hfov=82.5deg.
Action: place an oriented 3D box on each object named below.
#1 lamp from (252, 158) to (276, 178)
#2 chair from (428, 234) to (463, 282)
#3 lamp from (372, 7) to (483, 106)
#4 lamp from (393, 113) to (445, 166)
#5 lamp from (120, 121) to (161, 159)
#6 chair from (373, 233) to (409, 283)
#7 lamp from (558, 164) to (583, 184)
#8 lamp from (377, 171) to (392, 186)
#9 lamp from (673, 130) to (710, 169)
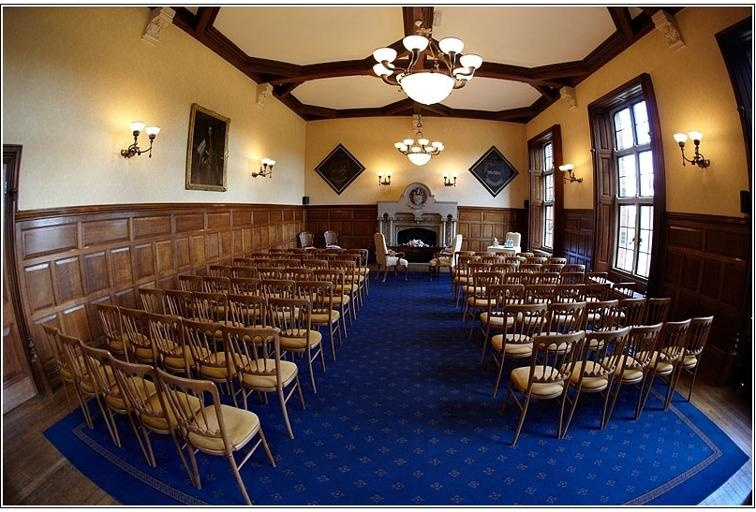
[{"bbox_3d":[-2.972,-2.284,11.421,0.537,0.527,0.689,-3,-1,20],"label":"lamp"},{"bbox_3d":[1.799,0.065,11.773,0.749,1.202,0.722,2,1,19],"label":"chair"},{"bbox_3d":[0.926,-3.841,8.070,1.826,2.060,1.884,-2,13,-14],"label":"lamp"},{"bbox_3d":[1.046,-3.140,11.175,0.701,0.999,0.723,5,0,32],"label":"lamp"},{"bbox_3d":[-4.105,-1.999,7.453,0.527,0.555,0.594,-2,3,2],"label":"lamp"},{"bbox_3d":[0.349,0.018,12.165,0.939,1.267,0.845,-3,7,-43],"label":"chair"},{"bbox_3d":[4.722,-2.048,10.741,0.356,0.513,0.988,0,7,7],"label":"lamp"},{"bbox_3d":[0.233,-2.495,14.135,0.538,0.534,0.372,1,0,2],"label":"lamp"},{"bbox_3d":[5.101,-1.755,7.158,0.346,0.613,0.597,-1,7,-4],"label":"lamp"}]
